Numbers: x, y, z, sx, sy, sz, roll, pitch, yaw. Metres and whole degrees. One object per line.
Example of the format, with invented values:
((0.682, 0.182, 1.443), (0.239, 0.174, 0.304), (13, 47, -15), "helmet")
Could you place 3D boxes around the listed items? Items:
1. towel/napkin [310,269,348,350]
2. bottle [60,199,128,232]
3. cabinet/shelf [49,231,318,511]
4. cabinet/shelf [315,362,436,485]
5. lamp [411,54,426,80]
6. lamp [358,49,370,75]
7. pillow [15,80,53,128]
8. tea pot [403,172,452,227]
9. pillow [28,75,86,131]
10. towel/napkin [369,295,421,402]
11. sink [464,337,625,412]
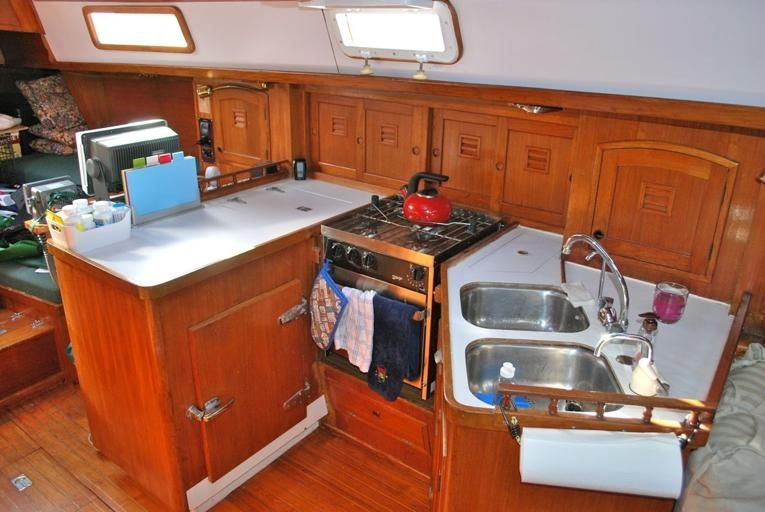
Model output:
((-0.270, 0.280, 2.663), (0.066, 0.365, 0.296), (-9, 44, -34), "towel/napkin")
((-1.384, -0.193, 2.427), (0.205, 0.122, 0.208), (1, 20, 0), "bottle")
((-0.954, 0.565, 2.509), (0.919, 1.158, 0.939), (19, 33, 32), "cabinet/shelf")
((-0.015, 0.909, 2.745), (0.637, 0.373, 0.338), (14, 23, 33), "cabinet/shelf")
((0.199, -0.979, 2.648), (0.067, 0.130, 0.117), (1, 26, 4), "lamp")
((-0.090, -1.060, 2.787), (0.065, 0.132, 0.099), (-1, 27, 1), "lamp")
((-2.830, -1.255, 4.243), (0.383, 0.369, 0.115), (-1, 12, 2), "pillow")
((0.247, -0.309, 2.790), (0.312, 0.287, 0.293), (0, 26, 0), "tea pot")
((-2.718, -1.270, 4.285), (0.447, 0.430, 0.131), (-18, 16, -9), "pillow")
((0.054, 0.476, 2.592), (0.272, 0.530, 0.170), (22, 36, 38), "towel/napkin")
((0.610, 0.452, 2.020), (0.437, 0.153, 0.315), (6, 20, 13), "sink")
